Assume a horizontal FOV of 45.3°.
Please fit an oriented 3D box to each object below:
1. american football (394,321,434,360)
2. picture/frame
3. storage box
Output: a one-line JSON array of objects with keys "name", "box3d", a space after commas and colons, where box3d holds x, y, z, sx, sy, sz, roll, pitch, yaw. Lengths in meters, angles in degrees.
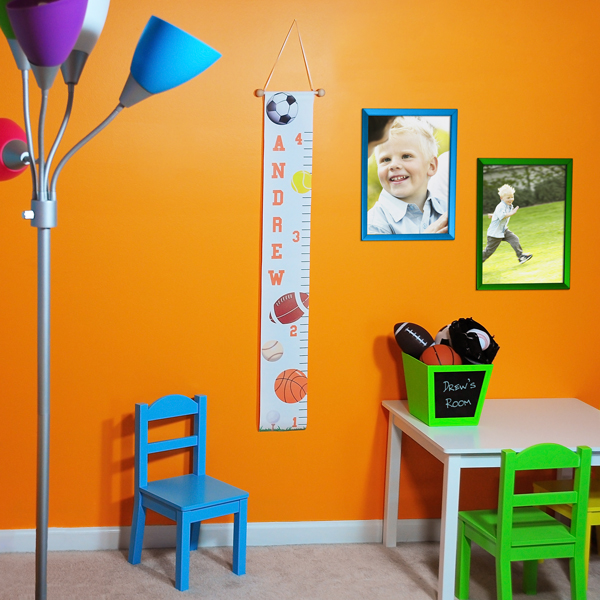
[{"name": "american football", "box3d": [0.431, 0.149, 2.791, 0.153, 0.097, 0.103, 41, -7, 25]}, {"name": "picture/frame", "box3d": [0.643, -0.435, 2.936, 0.600, 0.637, 0.030, 1, 1, -8]}, {"name": "storage box", "box3d": [0.535, 0.333, 2.706, 0.212, 0.212, 0.268, 1, -2, -8]}]
